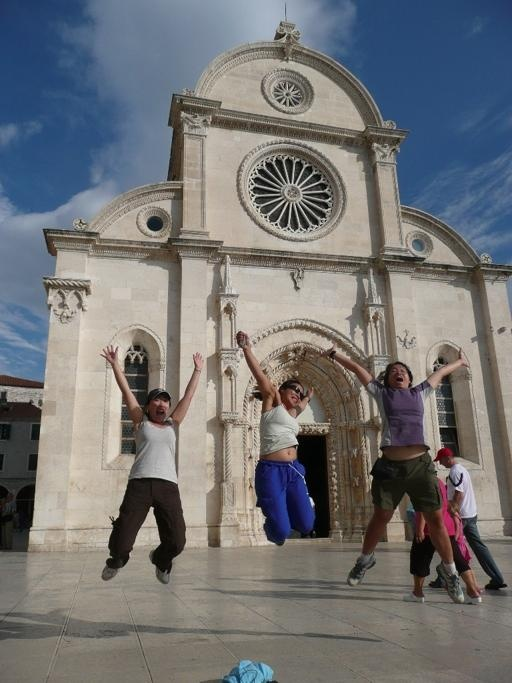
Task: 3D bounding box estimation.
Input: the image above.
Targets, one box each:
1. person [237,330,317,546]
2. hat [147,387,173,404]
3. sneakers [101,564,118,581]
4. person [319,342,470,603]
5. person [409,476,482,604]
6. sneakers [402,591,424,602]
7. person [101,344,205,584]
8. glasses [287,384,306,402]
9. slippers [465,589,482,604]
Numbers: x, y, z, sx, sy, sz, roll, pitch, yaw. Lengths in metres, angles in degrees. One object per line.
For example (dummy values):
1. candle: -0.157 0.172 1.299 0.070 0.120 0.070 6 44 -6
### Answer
1. person: 0.185 0.881 5.393 0.649 2.018 0.709 -4 -12 4
2. hat: -0.866 0.493 5.159 0.155 0.133 0.235 9 -34 -21
3. sneakers: -1.237 1.946 4.857 0.109 0.120 0.215 1 -12 -18
4. person: 1.307 1.164 5.141 1.084 2.334 0.725 -5 -13 8
5. person: 1.806 1.869 5.700 0.674 1.185 0.465 -9 -20 27
6. sneakers: 1.460 2.378 5.395 0.190 0.074 0.080 -6 -11 40
7. person: -0.945 1.135 5.093 0.652 2.010 0.784 -11 -14 31
8. glasses: 0.372 0.459 5.529 0.058 0.177 0.182 -47 -36 0
9. slippers: 1.979 2.335 5.271 0.071 0.075 0.181 1 -2 2
